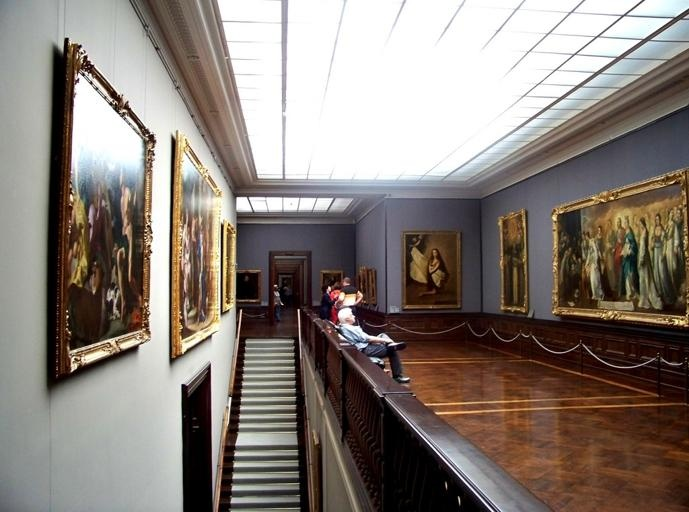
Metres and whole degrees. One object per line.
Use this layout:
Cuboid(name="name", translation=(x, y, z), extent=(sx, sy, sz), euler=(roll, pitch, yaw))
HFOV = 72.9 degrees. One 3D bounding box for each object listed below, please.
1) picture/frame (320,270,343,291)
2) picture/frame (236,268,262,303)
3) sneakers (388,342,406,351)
Cuboid(name="picture/frame", translation=(-0.699, 1.262, 23.282), extent=(1.030, 1.294, 0.119), euler=(0, -9, -3))
Cuboid(name="picture/frame", translation=(-5.205, 1.587, 25.097), extent=(1.819, 2.172, 0.154), euler=(0, 2, -10))
Cuboid(name="sneakers", translation=(1.125, 1.961, 10.003), extent=(0.366, 0.195, 0.276), euler=(1, -2, -17))
